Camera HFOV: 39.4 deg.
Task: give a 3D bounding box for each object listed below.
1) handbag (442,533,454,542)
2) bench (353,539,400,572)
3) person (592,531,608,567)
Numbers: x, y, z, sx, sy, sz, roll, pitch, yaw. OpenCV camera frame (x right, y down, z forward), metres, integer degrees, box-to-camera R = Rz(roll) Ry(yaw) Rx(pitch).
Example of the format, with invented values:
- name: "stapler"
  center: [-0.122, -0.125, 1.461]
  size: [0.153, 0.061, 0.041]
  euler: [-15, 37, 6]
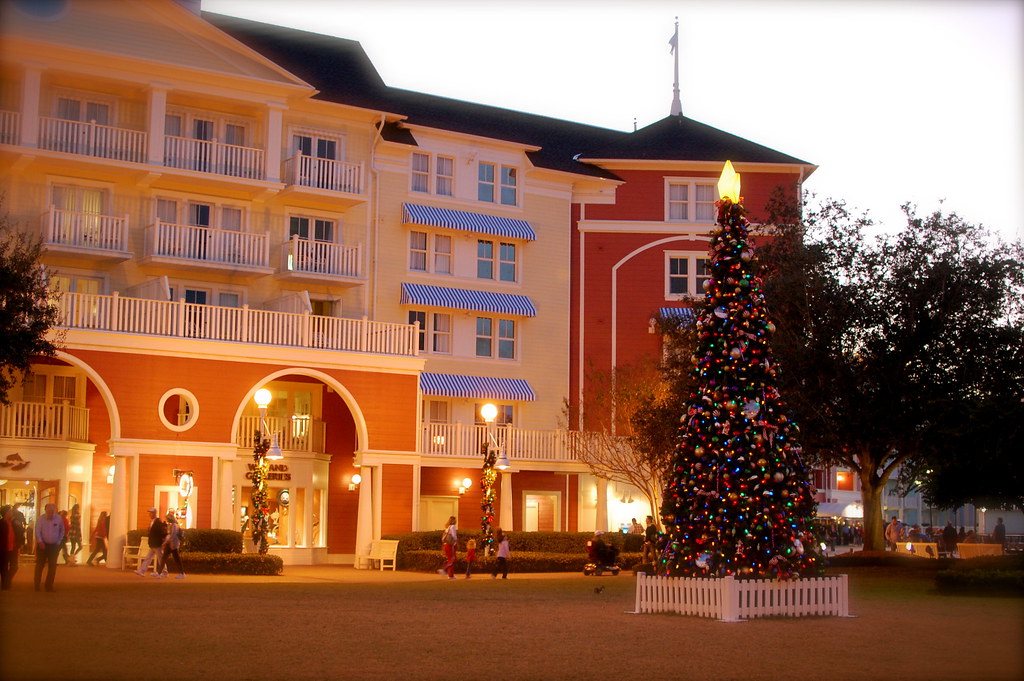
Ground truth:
- name: "handbag"
  center: [-2.075, 6.451, 46.800]
  size: [0.264, 0.384, 0.502]
  euler: [0, -13, 1]
- name: "bench"
  center: [-4.652, 7.463, 49.941]
  size: [1.514, 1.080, 0.573]
  euler: [-9, -16, 35]
- name: "person"
  center: [2.909, 7.336, 49.758]
  size: [0.569, 0.890, 0.275]
  euler: [3, 0, -33]
